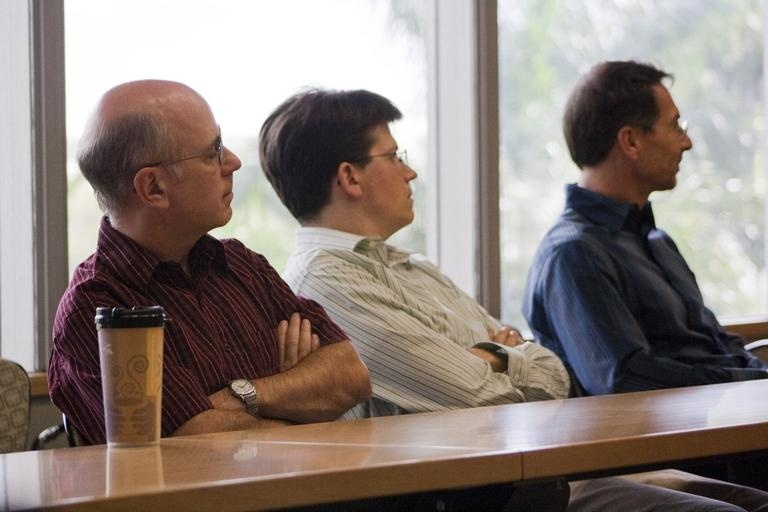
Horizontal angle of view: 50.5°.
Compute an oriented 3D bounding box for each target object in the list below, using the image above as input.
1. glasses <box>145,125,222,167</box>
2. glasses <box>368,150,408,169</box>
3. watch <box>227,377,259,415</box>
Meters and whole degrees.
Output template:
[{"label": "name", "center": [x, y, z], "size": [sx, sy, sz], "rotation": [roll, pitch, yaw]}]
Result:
[{"label": "glasses", "center": [-0.598, -0.334, 2.532], "size": [0.147, 0.042, 0.147], "rotation": [-15, 13, -2]}, {"label": "glasses", "center": [0.019, -0.367, 3.105], "size": [0.091, 0.026, 0.090], "rotation": [-3, -2, 27]}, {"label": "watch", "center": [-0.420, 0.411, 2.467], "size": [0.059, 0.097, 0.094], "rotation": [-25, -33, -19]}]
